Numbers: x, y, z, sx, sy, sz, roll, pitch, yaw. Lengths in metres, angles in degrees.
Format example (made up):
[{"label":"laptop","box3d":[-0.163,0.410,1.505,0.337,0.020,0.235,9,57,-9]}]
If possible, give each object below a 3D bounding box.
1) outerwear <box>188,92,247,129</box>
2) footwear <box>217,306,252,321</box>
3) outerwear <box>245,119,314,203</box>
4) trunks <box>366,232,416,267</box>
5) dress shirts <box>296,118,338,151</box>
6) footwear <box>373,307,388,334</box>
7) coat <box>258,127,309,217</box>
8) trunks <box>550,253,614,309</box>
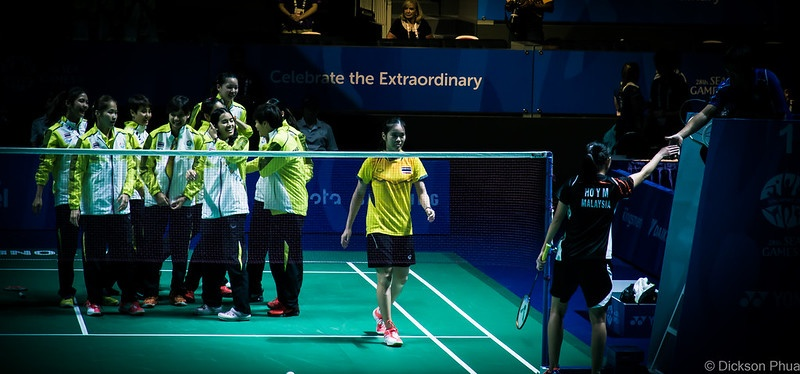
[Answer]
[{"label":"outerwear","box3d":[-3.859,-1.598,12.674,1.117,0.902,0.415,-9,21,-4]},{"label":"footwear","box3d":[-3.219,2.435,11.837,0.692,0.245,0.234,4,2,-1]},{"label":"outerwear","box3d":[-2.361,-0.616,12.080,1.169,1.593,1.766,11,27,12]},{"label":"trunks","box3d":[-0.139,1.194,11.184,1.137,0.687,0.633,-3,4,-43]},{"label":"dress shirts","box3d":[-2.010,-1.260,14.306,1.161,0.768,0.381,-3,3,-8]},{"label":"footwear","box3d":[-0.423,2.528,11.419,0.215,0.532,0.249,-12,4,-13]},{"label":"coat","box3d":[-2.243,-0.306,11.602,0.871,1.700,0.585,-1,3,-18]},{"label":"trunks","box3d":[3.022,1.545,10.469,1.518,1.020,0.770,0,-7,8]}]
